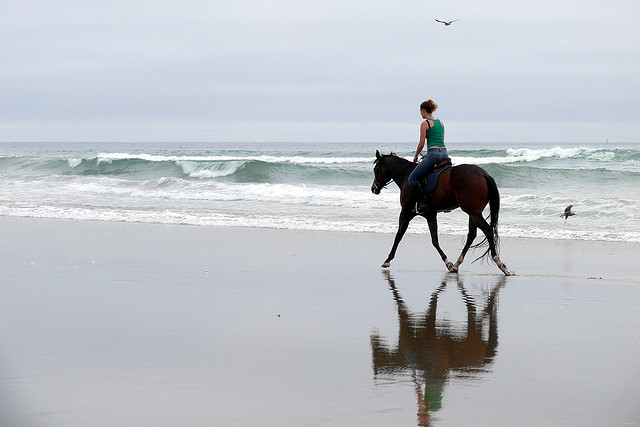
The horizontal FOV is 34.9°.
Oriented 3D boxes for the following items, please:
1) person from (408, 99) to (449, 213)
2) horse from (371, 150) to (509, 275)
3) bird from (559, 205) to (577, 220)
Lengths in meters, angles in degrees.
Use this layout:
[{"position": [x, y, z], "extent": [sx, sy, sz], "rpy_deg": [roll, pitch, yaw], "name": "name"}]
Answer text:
[{"position": [2.338, -1.204, 22.164], "extent": [0.796, 2.562, 0.685], "rpy_deg": [3, 16, 5], "name": "person"}, {"position": [2.627, -0.023, 22.855], "extent": [1.175, 2.556, 4.334], "rpy_deg": [6, -2, -43], "name": "horse"}, {"position": [7.045, 0.008, 29.263], "extent": [0.448, 0.268, 0.463], "rpy_deg": [12, 0, 23], "name": "bird"}]
